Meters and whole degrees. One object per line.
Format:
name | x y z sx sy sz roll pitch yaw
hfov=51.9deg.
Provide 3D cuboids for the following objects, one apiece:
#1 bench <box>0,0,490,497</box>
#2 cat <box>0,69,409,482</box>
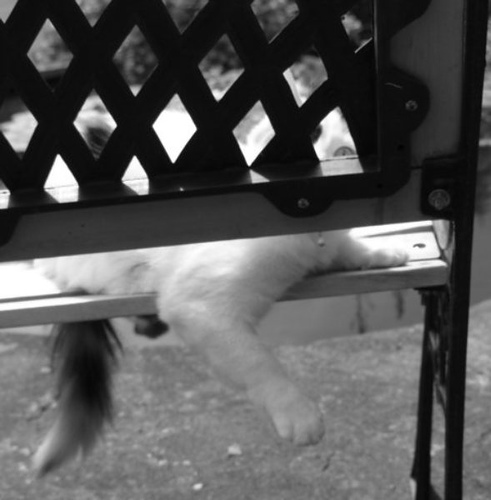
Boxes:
bench | -0.014 0.020 0.775 0.625 0.816 0.282 -3 25 -1
cat | -0.093 -0.003 0.955 0.657 0.542 0.519 -3 26 8
